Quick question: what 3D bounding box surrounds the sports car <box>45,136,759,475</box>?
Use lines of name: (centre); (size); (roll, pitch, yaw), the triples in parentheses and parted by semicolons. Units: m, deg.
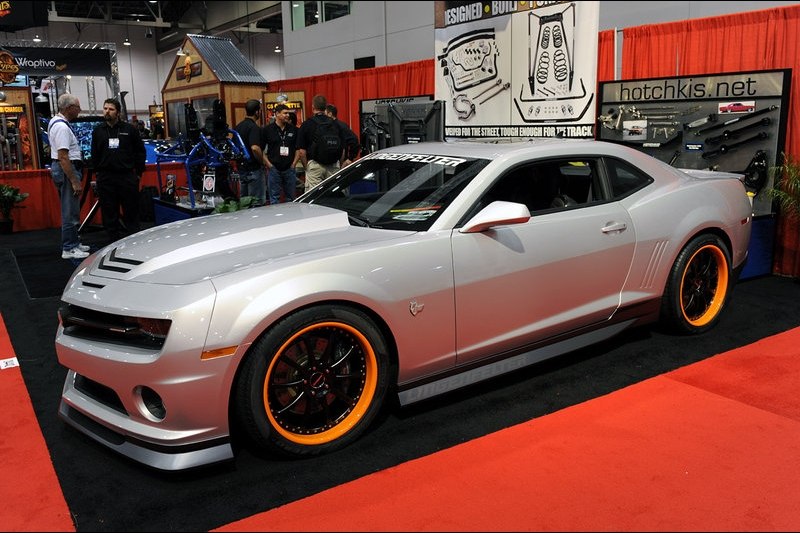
sports car: (0.438, 0.073, 3.661); (4.784, 1.443, 2.257); (-8, 12, -30)

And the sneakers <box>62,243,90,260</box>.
sneakers: (-5.206, -0.233, 7.513); (0.374, 0.135, 0.145); (-24, -1, -28)
